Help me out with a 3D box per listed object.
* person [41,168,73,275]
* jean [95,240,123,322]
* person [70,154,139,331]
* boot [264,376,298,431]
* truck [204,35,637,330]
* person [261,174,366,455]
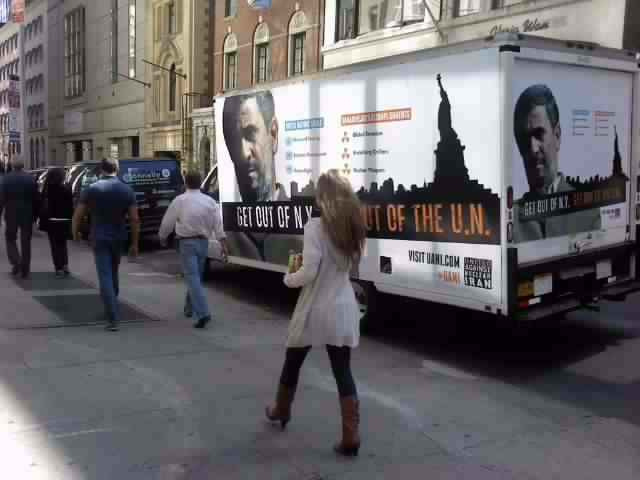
[{"bbox_3d":[-4.951,-0.344,11.879,0.545,1.976,0.419,-2,7,-18],"label":"person"},{"bbox_3d":[-2.756,0.575,8.306,0.352,1.158,0.515,-4,8,-28],"label":"jean"},{"bbox_3d":[-2.789,0.022,8.428,0.716,2.193,0.883,-6,10,-41],"label":"person"},{"bbox_3d":[-0.343,1.404,5.495,0.259,0.500,0.282,0,8,-3],"label":"boot"},{"bbox_3d":[1.032,-0.656,9.121,2.866,3.308,5.947,-8,8,-42],"label":"truck"},{"bbox_3d":[0.007,0.597,5.116,0.702,2.223,0.432,0,7,1],"label":"person"}]
